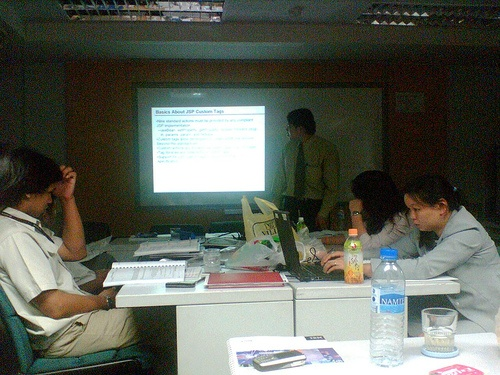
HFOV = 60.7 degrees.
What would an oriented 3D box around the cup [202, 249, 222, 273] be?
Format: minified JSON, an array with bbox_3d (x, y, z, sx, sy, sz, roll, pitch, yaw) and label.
[{"bbox_3d":[-0.208,0.406,2.346,0.111,0.110,0.085,-2,3,-1],"label":"cup"}]

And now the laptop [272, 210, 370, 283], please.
[{"bbox_3d":[0.345,0.282,2.267,0.365,0.265,0.360,-1,3,-12],"label":"laptop"}]

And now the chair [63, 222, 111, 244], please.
[{"bbox_3d":[-1.407,0.422,3.897,0.200,0.196,0.196,-7,-9,30],"label":"chair"}]

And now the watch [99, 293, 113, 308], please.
[{"bbox_3d":[-0.725,0.577,2.197,0.051,0.084,0.084,1,-7,-6],"label":"watch"}]

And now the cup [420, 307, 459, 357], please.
[{"bbox_3d":[0.686,0.520,1.567,0.148,0.169,0.149,0,-4,0],"label":"cup"}]
